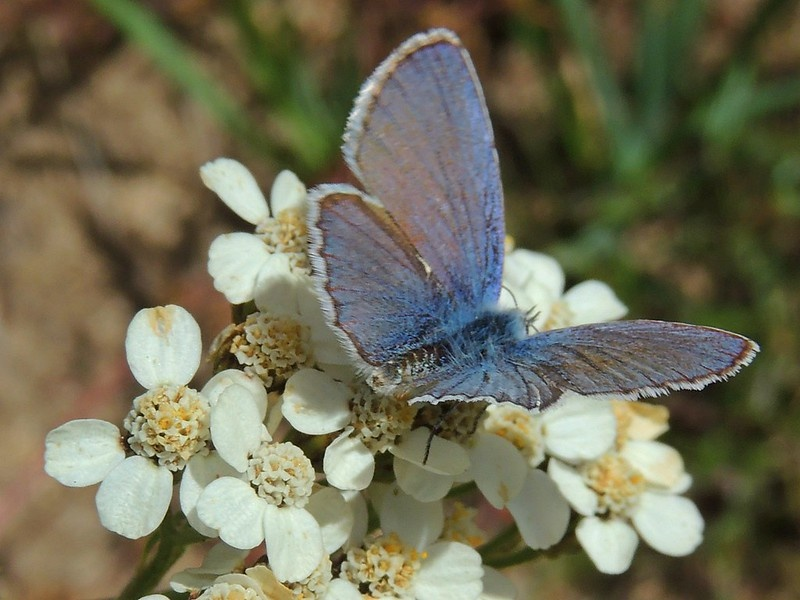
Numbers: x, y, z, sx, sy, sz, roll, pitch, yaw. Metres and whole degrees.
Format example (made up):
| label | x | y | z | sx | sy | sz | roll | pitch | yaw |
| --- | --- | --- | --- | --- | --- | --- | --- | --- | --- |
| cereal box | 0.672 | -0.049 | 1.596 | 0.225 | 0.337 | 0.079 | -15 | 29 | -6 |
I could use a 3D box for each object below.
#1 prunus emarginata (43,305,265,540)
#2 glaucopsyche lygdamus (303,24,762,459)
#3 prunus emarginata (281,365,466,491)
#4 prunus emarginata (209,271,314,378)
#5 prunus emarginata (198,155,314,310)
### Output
| label | x | y | z | sx | sy | sz | roll | pitch | yaw |
| --- | --- | --- | --- | --- | --- | --- | --- | --- | --- |
| prunus emarginata | -0.750 | 0.424 | 3.138 | 0.683 | 0.209 | 0.652 | 49 | 52 | -17 |
| glaucopsyche lygdamus | 0.220 | -0.050 | 3.147 | 0.885 | 0.483 | 1.268 | -41 | 79 | -4 |
| prunus emarginata | -0.132 | 0.396 | 3.109 | 0.429 | 0.163 | 0.427 | 5 | 49 | -29 |
| prunus emarginata | -0.424 | 0.107 | 3.105 | 0.238 | 0.110 | 0.253 | -44 | 78 | -10 |
| prunus emarginata | -0.467 | -0.211 | 3.396 | 0.462 | 0.164 | 0.489 | -20 | 69 | -38 |
